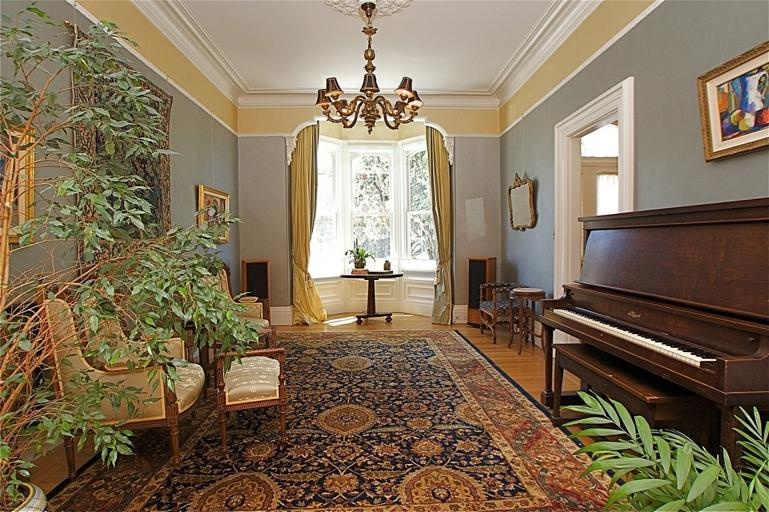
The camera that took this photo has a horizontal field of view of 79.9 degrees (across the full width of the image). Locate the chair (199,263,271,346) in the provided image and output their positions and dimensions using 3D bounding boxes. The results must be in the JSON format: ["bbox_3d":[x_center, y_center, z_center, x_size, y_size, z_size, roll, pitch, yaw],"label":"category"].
[{"bbox_3d":[-2.026,0.817,6.527,0.886,1.363,0.823,5,-5,-10],"label":"chair"}]

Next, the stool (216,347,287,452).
[{"bbox_3d":[-1.150,1.248,3.943,0.557,0.575,1.088,-2,3,-9],"label":"stool"}]

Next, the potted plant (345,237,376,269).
[{"bbox_3d":[-0.495,-0.027,8.669,0.611,0.578,0.593,-2,13,-11],"label":"potted plant"}]

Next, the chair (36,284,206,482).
[{"bbox_3d":[-2.150,0.976,3.978,1.189,1.293,1.058,2,5,-13],"label":"chair"}]

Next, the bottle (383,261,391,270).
[{"bbox_3d":[0.050,0.166,8.657,0.128,0.187,0.252,0,9,5],"label":"bottle"}]

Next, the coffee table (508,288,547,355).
[{"bbox_3d":[2.006,0.895,6.428,0.550,0.821,0.538,1,0,-18],"label":"coffee table"}]

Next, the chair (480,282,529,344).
[{"bbox_3d":[1.857,0.757,7.099,0.768,0.997,1.003,0,1,-7],"label":"chair"}]
